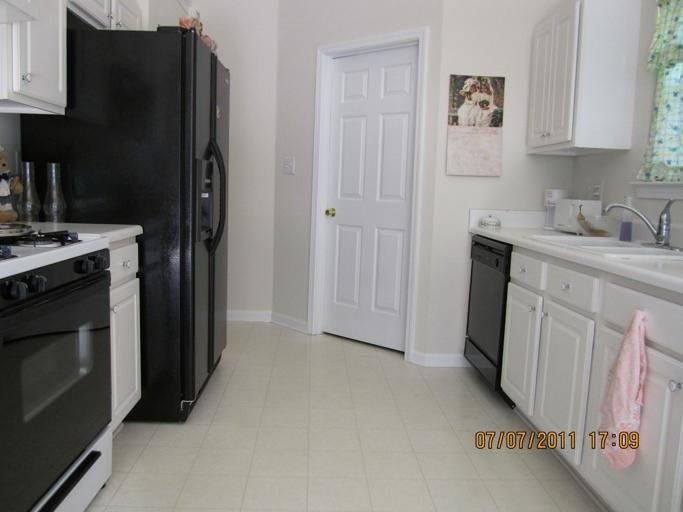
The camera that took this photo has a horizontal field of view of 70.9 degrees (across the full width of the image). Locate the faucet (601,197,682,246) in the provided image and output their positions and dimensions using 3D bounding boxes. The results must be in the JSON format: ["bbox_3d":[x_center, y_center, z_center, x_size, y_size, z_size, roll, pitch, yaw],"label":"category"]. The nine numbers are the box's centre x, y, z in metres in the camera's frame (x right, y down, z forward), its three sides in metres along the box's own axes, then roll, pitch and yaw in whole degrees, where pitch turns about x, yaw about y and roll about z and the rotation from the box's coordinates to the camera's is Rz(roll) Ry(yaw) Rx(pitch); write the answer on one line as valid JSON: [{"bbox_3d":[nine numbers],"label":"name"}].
[{"bbox_3d":[1.576,-0.181,2.462,0.240,0.239,0.548,9,14,35],"label":"faucet"}]

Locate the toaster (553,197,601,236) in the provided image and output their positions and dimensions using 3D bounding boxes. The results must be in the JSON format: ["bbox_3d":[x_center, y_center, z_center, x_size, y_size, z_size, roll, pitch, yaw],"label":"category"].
[{"bbox_3d":[1.464,-0.235,2.961,0.119,0.226,0.418,0,12,-8],"label":"toaster"}]
